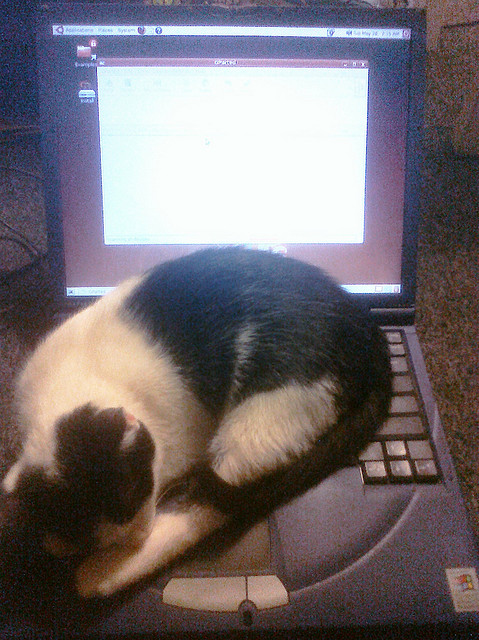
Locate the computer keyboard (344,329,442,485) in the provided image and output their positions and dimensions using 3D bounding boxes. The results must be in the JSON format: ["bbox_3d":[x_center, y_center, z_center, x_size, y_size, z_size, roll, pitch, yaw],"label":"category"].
[{"bbox_3d":[0.131,0.082,0.533,0.069,0.007,0.189,-4,47,5],"label":"computer keyboard"}]

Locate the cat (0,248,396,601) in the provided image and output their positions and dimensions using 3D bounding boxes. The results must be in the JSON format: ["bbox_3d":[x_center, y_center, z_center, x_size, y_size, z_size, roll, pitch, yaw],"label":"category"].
[{"bbox_3d":[-0.037,0.061,0.592,0.383,0.224,0.267,-9,24,-31],"label":"cat"}]

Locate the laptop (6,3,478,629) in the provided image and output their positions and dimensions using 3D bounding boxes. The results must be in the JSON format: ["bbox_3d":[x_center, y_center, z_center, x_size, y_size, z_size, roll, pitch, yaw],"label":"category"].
[{"bbox_3d":[-0.009,0.022,0.694,0.422,0.405,0.562,-2,52,2],"label":"laptop"}]
